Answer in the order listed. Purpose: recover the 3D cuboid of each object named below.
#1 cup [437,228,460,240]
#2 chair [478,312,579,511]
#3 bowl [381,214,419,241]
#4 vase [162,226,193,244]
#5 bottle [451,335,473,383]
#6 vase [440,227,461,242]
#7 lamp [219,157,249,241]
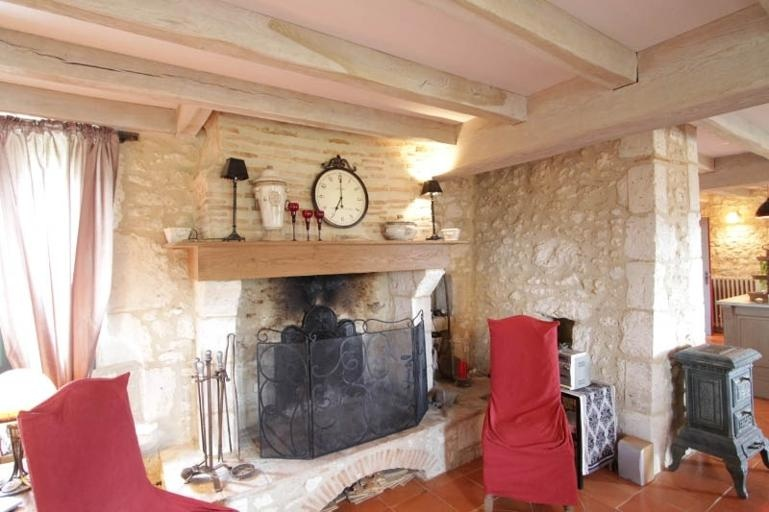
[{"bbox_3d":[0.626,-0.205,5.170,0.171,0.076,0.153,0,1,-11],"label":"cup"},{"bbox_3d":[1.101,1.226,4.229,0.665,1.484,0.438,-3,-2,8],"label":"chair"},{"bbox_3d":[0.145,-0.264,4.971,0.277,0.130,0.246,1,-1,-31],"label":"bowl"},{"bbox_3d":[-1.666,-0.164,4.372,0.194,0.101,0.150,1,-4,-18],"label":"vase"},{"bbox_3d":[0.837,1.156,5.751,0.276,0.474,0.242,-1,-17,-7],"label":"bottle"},{"bbox_3d":[0.633,-0.208,5.117,0.185,0.101,0.165,0,6,6],"label":"vase"},{"bbox_3d":[-1.199,-0.450,4.333,0.210,0.668,0.255,-2,-3,-13],"label":"lamp"}]
